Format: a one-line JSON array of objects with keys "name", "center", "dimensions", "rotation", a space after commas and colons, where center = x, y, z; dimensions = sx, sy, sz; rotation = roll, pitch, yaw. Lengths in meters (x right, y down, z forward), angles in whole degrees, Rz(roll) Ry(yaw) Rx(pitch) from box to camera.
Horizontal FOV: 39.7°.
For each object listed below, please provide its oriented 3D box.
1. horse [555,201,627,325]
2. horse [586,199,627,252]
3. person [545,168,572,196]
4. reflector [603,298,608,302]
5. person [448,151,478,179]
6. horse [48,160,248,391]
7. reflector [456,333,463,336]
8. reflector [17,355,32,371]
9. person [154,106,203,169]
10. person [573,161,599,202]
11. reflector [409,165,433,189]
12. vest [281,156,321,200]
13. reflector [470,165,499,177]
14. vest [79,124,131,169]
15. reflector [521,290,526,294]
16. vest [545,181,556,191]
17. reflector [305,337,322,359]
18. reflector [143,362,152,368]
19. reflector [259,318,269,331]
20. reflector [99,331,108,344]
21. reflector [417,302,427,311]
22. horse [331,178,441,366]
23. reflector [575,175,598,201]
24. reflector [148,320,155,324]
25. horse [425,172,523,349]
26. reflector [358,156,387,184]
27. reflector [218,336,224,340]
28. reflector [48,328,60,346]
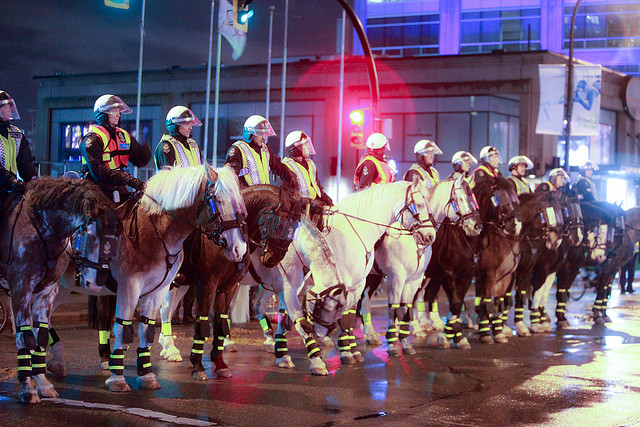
[{"name": "horse", "center": [7.511, 1.345, 24.256], "dimensions": [1.784, 3.402, 2.767], "rotation": [0, -1, 19]}, {"name": "horse", "center": [8.054, 0.392, 24.577], "dimensions": [0.683, 1.482, 1.805], "rotation": [2, 0, 11]}, {"name": "person", "center": [6.651, -0.875, 24.180], "dimensions": [0.936, 0.903, 0.816], "rotation": [2, 5, 34]}, {"name": "reflector", "center": [8.154, 2.453, 24.903], "dimensions": [0.124, 0.081, 0.113], "rotation": [-1, 0, 4]}, {"name": "person", "center": [3.676, -1.263, 22.969], "dimensions": [0.877, 0.775, 0.628], "rotation": [0, 3, 14]}, {"name": "horse", "center": [-3.781, 1.288, 16.964], "dimensions": [5.853, 4.020, 1.657], "rotation": [-4, -10, 38]}, {"name": "reflector", "center": [3.227, 2.823, 20.504], "dimensions": [0.156, 0.082, 0.038], "rotation": [-8, 7, -29]}, {"name": "reflector", "center": [-5.396, 2.632, 15.433], "dimensions": [0.256, 0.243, 0.258], "rotation": [-6, -8, 43]}, {"name": "person", "center": [-3.048, -1.580, 17.913], "dimensions": [0.953, 1.255, 0.670], "rotation": [0, -1, -15]}, {"name": "person", "center": [7.641, -0.943, 25.026], "dimensions": [0.608, 1.252, 2.222], "rotation": [0, -1, 18]}, {"name": "reflector", "center": [2.453, -0.938, 21.356], "dimensions": [0.607, 0.532, 0.590], "rotation": [-5, -12, -2]}, {"name": "vest", "center": [-0.538, -0.652, 19.607], "dimensions": [0.974, 1.175, 0.520], "rotation": [2, 0, -30]}, {"name": "reflector", "center": [4.329, -1.099, 22.563], "dimensions": [0.410, 0.159, 0.320], "rotation": [13, -9, -31]}, {"name": "vest", "center": [-4.331, -1.274, 17.201], "dimensions": [0.542, 0.887, 1.008], "rotation": [-6, 3, 37]}, {"name": "reflector", "center": [5.275, 2.025, 22.731], "dimensions": [0.154, 0.085, 0.034], "rotation": [-1, 0, 2]}, {"name": "vest", "center": [6.495, -0.758, 24.474], "dimensions": [0.094, 0.370, 0.384], "rotation": [-26, 18, -11]}, {"name": "reflector", "center": [-0.247, 2.735, 17.804], "dimensions": [0.277, 0.427, 0.161], "rotation": [-26, -14, -2]}, {"name": "reflector", "center": [-3.376, 2.810, 16.279], "dimensions": [0.111, 0.095, 0.024], "rotation": [-11, -13, -9]}, {"name": "reflector", "center": [-1.396, 2.499, 19.799], "dimensions": [0.244, 0.222, 0.061], "rotation": [-16, -1, 35]}, {"name": "reflector", "center": [-4.425, 2.418, 17.177], "dimensions": [0.230, 0.309, 0.232], "rotation": [-1, 1, -14]}, {"name": "reflector", "center": [2.657, 2.506, 23.564], "dimensions": [0.321, 0.278, 0.260], "rotation": [0, -5, 14]}, {"name": "horse", "center": [1.068, 1.216, 18.552], "dimensions": [2.310, 3.938, 1.129], "rotation": [1, -1, -28]}, {"name": "reflector", "center": [7.697, -0.740, 25.388], "dimensions": [0.785, 0.667, 0.755], "rotation": [-2, 0, -32]}, {"name": "reflector", "center": [-3.293, 2.013, 16.300], "dimensions": [0.096, 0.080, 0.022], "rotation": [4, -5, -17]}, {"name": "horse", "center": [3.354, 0.924, 21.178], "dimensions": [2.025, 4.404, 2.492], "rotation": [-2, -5, 41]}, {"name": "reflector", "center": [1.309, -1.077, 21.039], "dimensions": [0.255, 0.639, 0.646], "rotation": [-42, 20, -31]}, {"name": "reflector", "center": [-2.076, 2.433, 17.173], "dimensions": [0.097, 0.060, 0.022], "rotation": [2, -5, -8]}, {"name": "reflector", "center": [-5.302, 2.364, 16.742], "dimensions": [0.194, 0.294, 0.131], "rotation": [-21, 38, -30]}]
